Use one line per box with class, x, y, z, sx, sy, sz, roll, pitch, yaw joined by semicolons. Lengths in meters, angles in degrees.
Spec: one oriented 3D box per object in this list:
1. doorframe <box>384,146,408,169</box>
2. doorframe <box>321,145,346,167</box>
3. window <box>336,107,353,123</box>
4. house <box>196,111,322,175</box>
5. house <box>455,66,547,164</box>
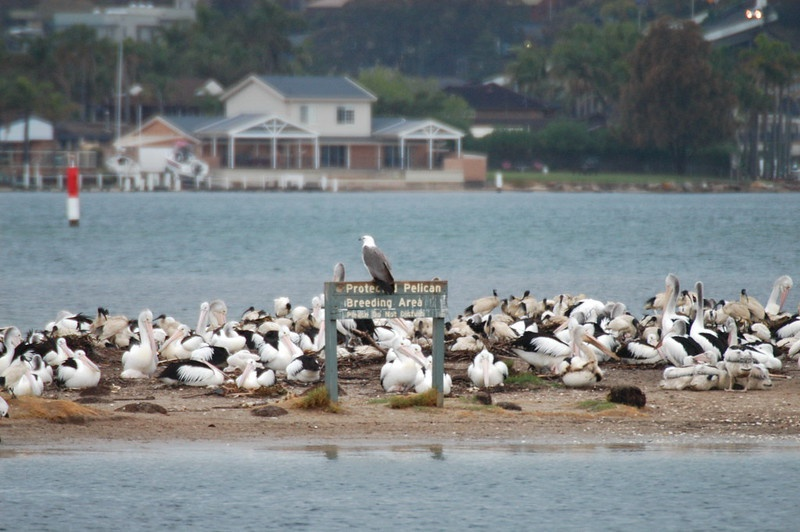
doorframe;-0.381;-9.828;158.422;1.983;1.716;1.015;3;10;14
doorframe;-5.883;-9.885;158.028;2.044;1.825;0.211;1;9;3
window;-4.866;-13.507;157.143;1.505;1.254;0.117;2;16;-2
house;-11.919;-11.011;155.173;10.079;4.834;6.943;0;2;-2
house;9.923;-13.346;172.262;8.671;5.453;8.334;1;8;13
